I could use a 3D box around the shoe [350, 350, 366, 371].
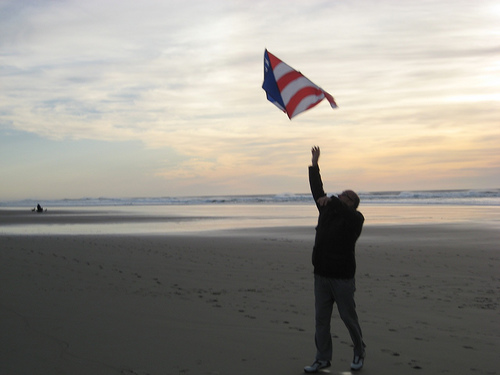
[{"bbox_3d":[1.724,2.775,8.848,0.132,0.161,0.389,-13,18,43],"label":"shoe"}]

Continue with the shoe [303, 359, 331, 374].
[{"bbox_3d":[1.036,2.841,8.896,0.512,0.334,0.170,2,0,-3],"label":"shoe"}]

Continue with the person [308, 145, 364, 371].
[{"bbox_3d":[1.419,1.144,8.850,1.000,3.492,0.763,3,9,5],"label":"person"}]
